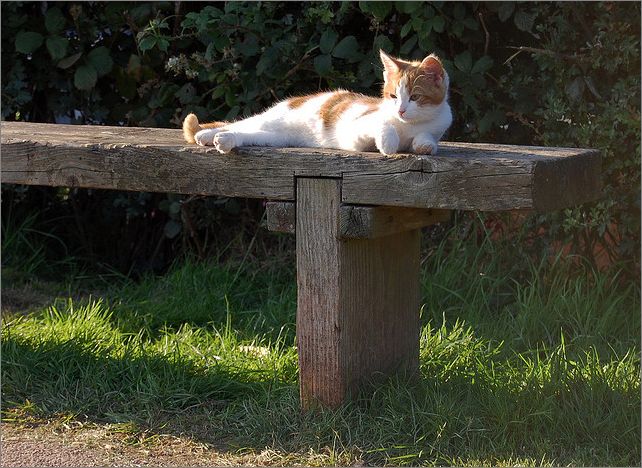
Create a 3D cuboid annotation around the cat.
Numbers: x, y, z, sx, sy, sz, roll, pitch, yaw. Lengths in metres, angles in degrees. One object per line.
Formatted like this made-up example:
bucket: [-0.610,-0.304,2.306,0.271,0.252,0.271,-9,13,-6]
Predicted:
cat: [0.047,-0.518,3.878,0.975,0.429,0.618,11,16,41]
